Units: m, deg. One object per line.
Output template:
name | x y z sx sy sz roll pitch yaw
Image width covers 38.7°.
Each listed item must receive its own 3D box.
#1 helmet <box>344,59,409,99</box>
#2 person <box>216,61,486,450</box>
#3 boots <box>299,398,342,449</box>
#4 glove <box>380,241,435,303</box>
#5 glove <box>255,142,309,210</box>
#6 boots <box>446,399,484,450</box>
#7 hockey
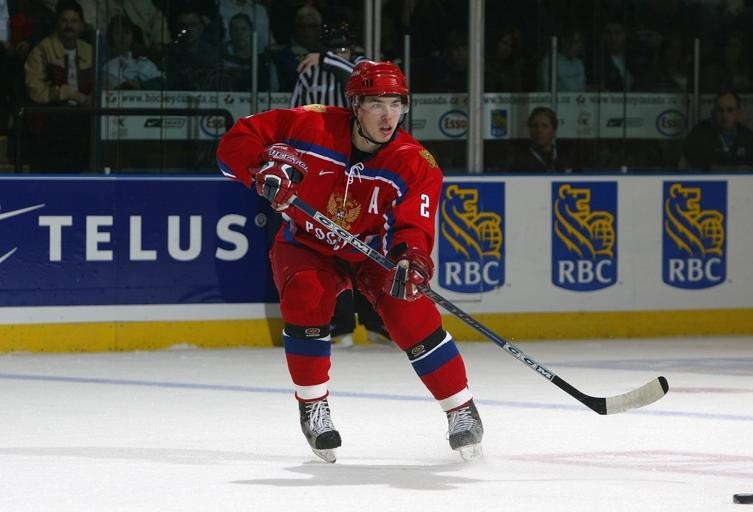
helmet | 0.003 -0.821 4.921 0.279 0.171 0.170 -1 8 0
person | -0.115 0.015 4.931 1.152 1.827 0.529 -1 8 -4
boots | -0.262 0.772 4.894 0.144 0.212 0.220 -3 8 -17
glove | 0.147 0.071 4.714 0.202 0.254 0.108 5 0 7
glove | -0.426 -0.349 4.887 0.239 0.280 0.275 14 -27 -12
boots | 0.408 0.771 4.939 0.101 0.130 0.296 -33 8 10
hockey | 0.545 0.293 6.235 1.944 0.282 0.217 31 52 4
